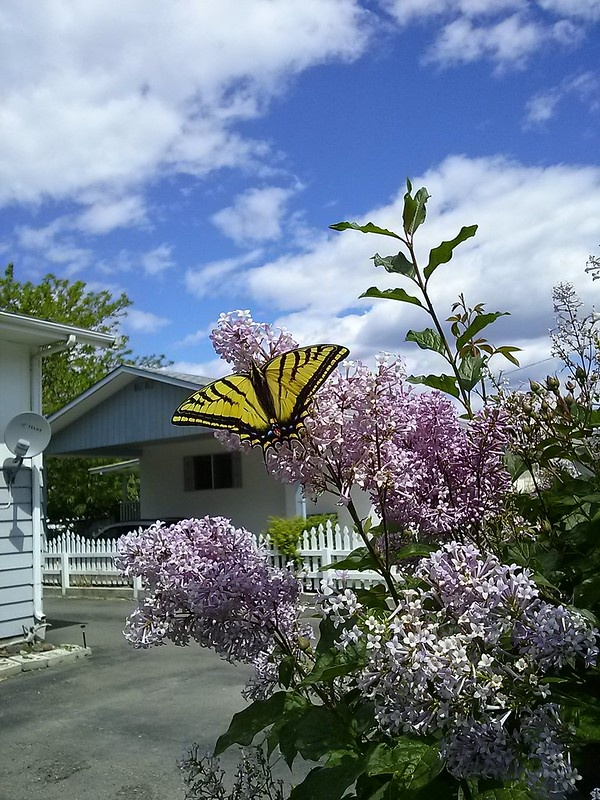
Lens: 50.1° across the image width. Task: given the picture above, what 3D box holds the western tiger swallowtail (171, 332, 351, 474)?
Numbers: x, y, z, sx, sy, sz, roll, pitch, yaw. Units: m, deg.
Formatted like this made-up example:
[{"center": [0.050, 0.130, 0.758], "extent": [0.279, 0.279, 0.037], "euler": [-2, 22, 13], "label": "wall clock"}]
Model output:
[{"center": [-0.059, 0.007, 1.199], "extent": [0.376, 0.190, 0.077], "euler": [-15, -19, 39], "label": "western tiger swallowtail"}]

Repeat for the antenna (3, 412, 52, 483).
[{"center": [-4.566, 0.737, 10.550], "extent": [0.730, 1.101, 0.714], "euler": [-15, -12, 38], "label": "antenna"}]

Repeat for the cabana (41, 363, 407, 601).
[{"center": [-3.563, 1.933, 19.338], "extent": [7.310, 4.525, 9.901], "euler": [-5, -9, 27], "label": "cabana"}]
